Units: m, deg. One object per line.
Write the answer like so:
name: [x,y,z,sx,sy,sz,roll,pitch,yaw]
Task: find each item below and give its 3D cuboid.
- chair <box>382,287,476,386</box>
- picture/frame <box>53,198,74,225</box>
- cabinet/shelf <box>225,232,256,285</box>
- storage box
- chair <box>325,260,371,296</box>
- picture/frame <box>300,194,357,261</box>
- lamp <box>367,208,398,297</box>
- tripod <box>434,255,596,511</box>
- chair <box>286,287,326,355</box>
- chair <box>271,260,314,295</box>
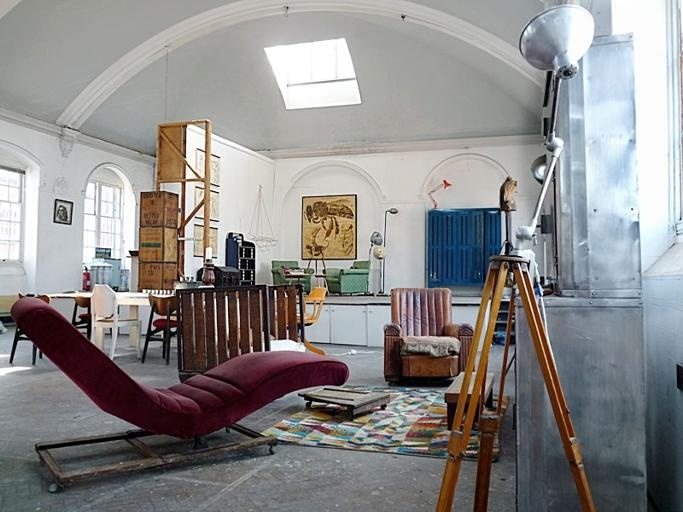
chair: [0.996,0.921,6.220,0.829,1.210,1.171,-1,-9,9]
picture/frame: [-5.773,-0.930,10.682,0.036,0.566,0.528,-1,-1,24]
cabinet/shelf: [-2.102,0.043,10.821,0.626,1.089,0.529,0,1,-21]
storage box: [-3.155,-0.269,8.963,0.656,1.656,0.382,0,0,-22]
chair: [0.122,0.457,11.561,0.740,0.831,0.996,3,-3,-23]
picture/frame: [-0.248,-0.675,12.553,1.468,1.799,0.122,0,-3,16]
lamp: [0.876,-0.137,11.260,0.709,1.964,1.974,0,1,8]
tripod: [0.870,0.723,2.625,0.751,1.451,0.914,0,1,26]
chair: [-0.419,0.936,7.848,0.779,1.091,0.811,2,-6,-15]
chair: [-1.109,0.440,11.789,0.810,1.023,0.800,2,-6,-19]
